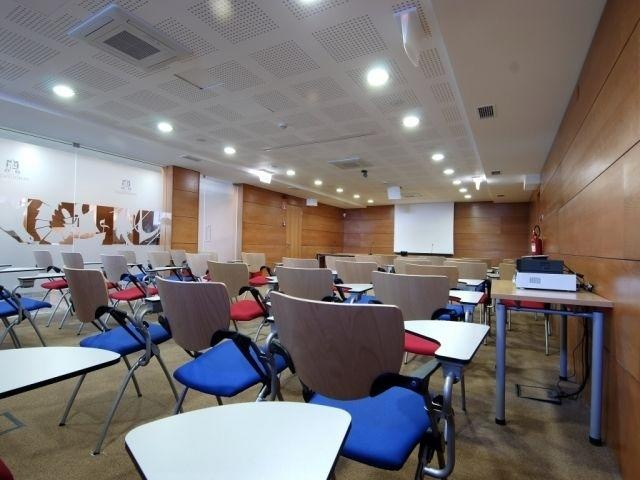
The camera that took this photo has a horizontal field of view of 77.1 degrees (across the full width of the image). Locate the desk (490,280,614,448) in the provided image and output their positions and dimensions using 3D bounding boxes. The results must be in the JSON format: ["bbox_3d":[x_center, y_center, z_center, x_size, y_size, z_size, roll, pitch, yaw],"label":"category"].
[{"bbox_3d":[1.935,0.985,3.557,0.851,1.057,1.168,1,-3,30],"label":"desk"}]

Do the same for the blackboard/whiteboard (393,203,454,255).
[{"bbox_3d":[3.598,-0.359,13.601,1.559,1.446,0.180,-3,-4,35],"label":"blackboard/whiteboard"}]
